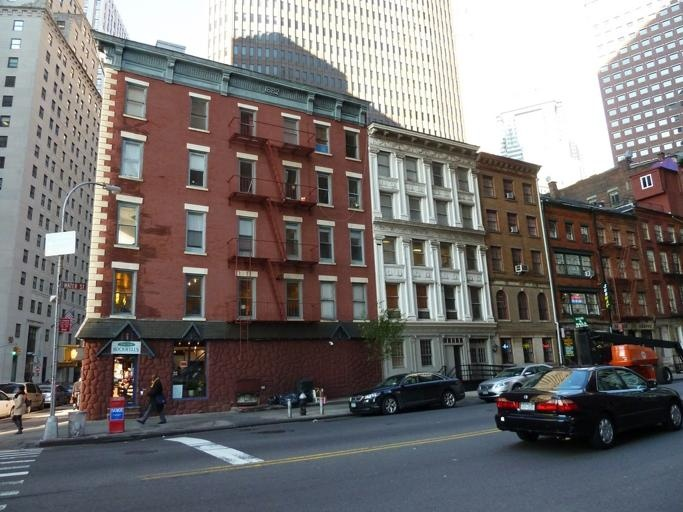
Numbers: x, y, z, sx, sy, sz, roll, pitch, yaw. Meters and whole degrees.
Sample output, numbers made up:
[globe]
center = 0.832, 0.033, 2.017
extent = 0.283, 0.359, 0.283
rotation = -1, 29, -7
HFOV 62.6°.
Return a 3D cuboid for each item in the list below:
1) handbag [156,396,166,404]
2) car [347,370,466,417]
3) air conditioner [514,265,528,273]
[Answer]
[handbag]
center = -7.896, 6.241, 24.687
extent = 0.278, 0.316, 0.439
rotation = -10, -16, 24
[car]
center = 3.192, 6.398, 26.524
extent = 5.148, 1.282, 2.000
rotation = 7, -19, -27
[air conditioner]
center = 13.716, 0.928, 42.974
extent = 1.110, 0.608, 0.578
rotation = 7, -16, -42
